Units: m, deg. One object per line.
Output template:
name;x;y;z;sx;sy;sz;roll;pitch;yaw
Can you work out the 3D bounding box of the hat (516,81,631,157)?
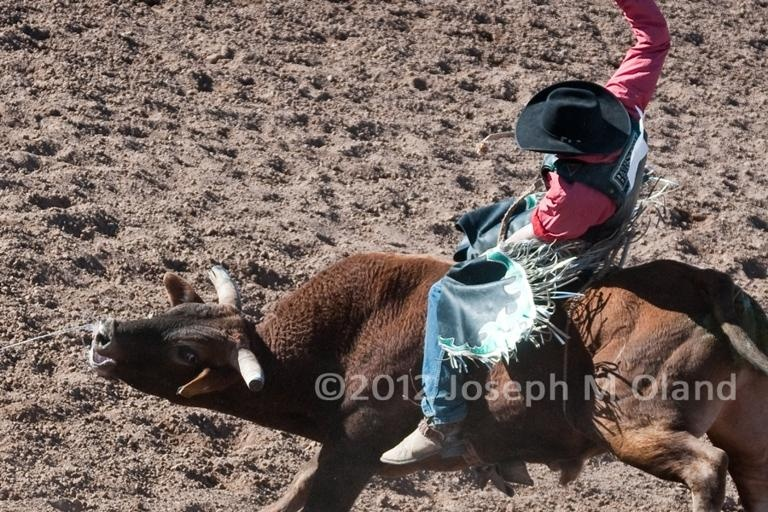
hat;1.400;-0.992;9.615;0.789;0.253;0.557;0;61;8
